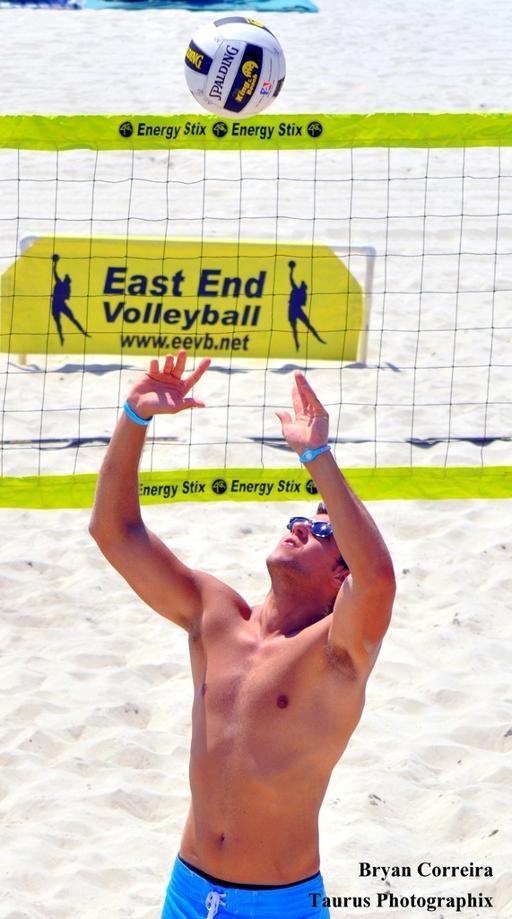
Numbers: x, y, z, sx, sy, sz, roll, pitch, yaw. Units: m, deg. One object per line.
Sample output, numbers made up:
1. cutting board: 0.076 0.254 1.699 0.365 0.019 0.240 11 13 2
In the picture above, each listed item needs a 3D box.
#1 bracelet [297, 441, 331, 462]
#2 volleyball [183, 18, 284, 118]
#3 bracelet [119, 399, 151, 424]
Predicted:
1. bracelet: 0.100 -0.014 1.825 0.039 0.031 0.014 -26 98 -7
2. volleyball: -0.098 -1.767 4.883 0.435 0.479 0.415 12 36 -11
3. bracelet: -0.234 -0.098 2.126 0.046 0.042 0.018 31 85 45
